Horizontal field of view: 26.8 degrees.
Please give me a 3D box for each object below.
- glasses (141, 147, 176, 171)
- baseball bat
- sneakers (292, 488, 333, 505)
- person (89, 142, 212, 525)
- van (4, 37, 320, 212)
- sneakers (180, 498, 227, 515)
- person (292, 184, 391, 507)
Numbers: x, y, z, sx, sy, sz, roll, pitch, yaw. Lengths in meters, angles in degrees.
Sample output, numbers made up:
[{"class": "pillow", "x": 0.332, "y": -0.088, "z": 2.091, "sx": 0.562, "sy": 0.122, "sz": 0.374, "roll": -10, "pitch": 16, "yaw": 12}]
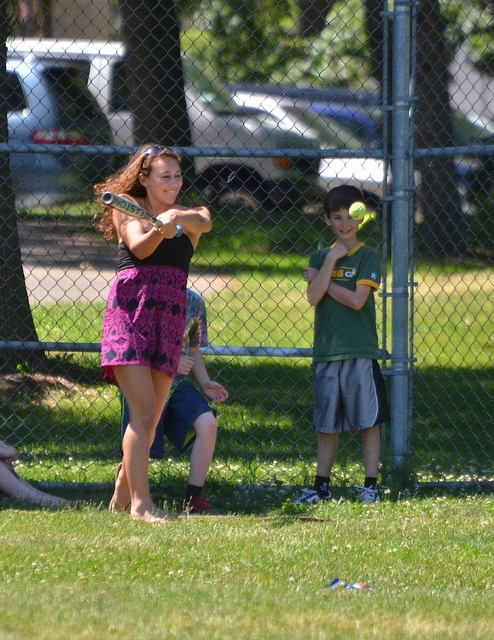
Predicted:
[{"class": "glasses", "x": -0.394, "y": -0.689, "z": 4.473, "sx": 0.126, "sy": 0.109, "sz": 0.035, "roll": -1, "pitch": 9, "yaw": -19}, {"class": "baseball bat", "x": -0.398, "y": -0.410, "z": 4.006, "sx": 0.058, "sy": 0.070, "sz": 0.412, "roll": -16, "pitch": -29, "yaw": 39}, {"class": "sneakers", "x": 0.308, "y": 0.857, "z": 5.010, "sx": 0.197, "sy": 0.069, "sz": 0.061, "roll": 0, "pitch": -5, "yaw": -19}, {"class": "person", "x": -0.394, "y": 0.060, "z": 4.466, "sx": 0.461, "sy": 1.643, "sz": 0.635, "roll": -2, "pitch": 8, "yaw": -30}, {"class": "van", "x": -1.311, "y": -2.460, "z": 12.855, "sx": 5.141, "sy": 2.190, "sz": 2.593, "roll": -3, "pitch": 10, "yaw": -13}, {"class": "sneakers", "x": -0.197, "y": 0.846, "z": 4.709, "sx": 0.200, "sy": 0.065, "sz": 0.068, "roll": 1, "pitch": 2, "yaw": 6}, {"class": "person", "x": 0.481, "y": 0.114, "z": 5.001, "sx": 0.447, "sy": 1.521, "sz": 0.437, "roll": 2, "pitch": 7, "yaw": 2}]
